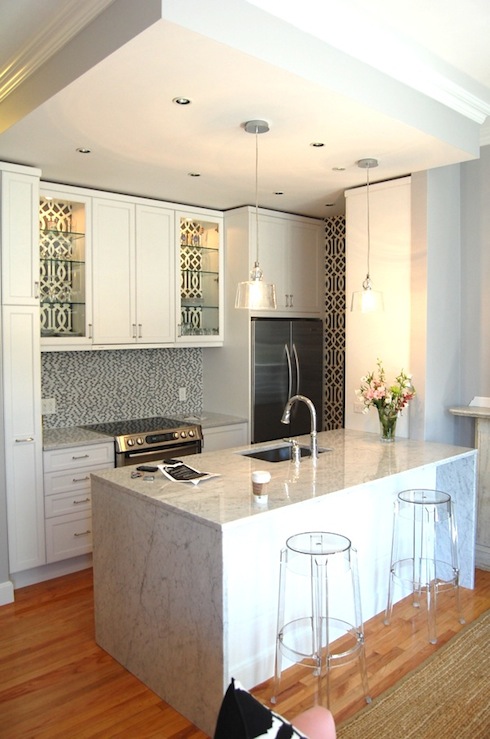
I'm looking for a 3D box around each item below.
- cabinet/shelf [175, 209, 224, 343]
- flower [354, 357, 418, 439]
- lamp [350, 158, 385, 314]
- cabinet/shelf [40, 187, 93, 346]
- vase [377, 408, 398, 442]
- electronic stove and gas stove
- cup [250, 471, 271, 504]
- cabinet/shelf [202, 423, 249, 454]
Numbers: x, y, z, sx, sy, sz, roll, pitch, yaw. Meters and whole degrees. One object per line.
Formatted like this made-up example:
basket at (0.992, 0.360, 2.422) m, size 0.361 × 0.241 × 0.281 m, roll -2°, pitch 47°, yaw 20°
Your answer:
cabinet/shelf at (-0.366, -0.835, 4.519) m, size 0.441 × 0.927 × 0.228 m, roll 13°, pitch 27°, yaw 12°
flower at (0.952, 0.205, 3.545) m, size 0.334 × 0.498 × 0.445 m, roll -1°, pitch 1°, yaw 18°
lamp at (0.736, -0.773, 3.203) m, size 0.190 × 0.881 × 0.198 m, roll -1°, pitch 11°, yaw 7°
cabinet/shelf at (-1.344, -0.686, 3.785) m, size 0.367 × 1.024 × 0.136 m, roll 0°, pitch 21°, yaw -16°
vase at (0.926, 0.357, 3.468) m, size 0.103 × 0.206 × 0.132 m, roll -1°, pitch 1°, yaw 13°
electronic stove and gas stove at (-0.689, 0.537, 3.964) m, size 0.720 × 0.231 × 0.823 m, roll 0°, pitch 1°, yaw 44°
cup at (0.059, 0.449, 2.062) m, size 0.074 × 0.117 × 0.102 m, roll 7°, pitch 10°, yaw 38°
cabinet/shelf at (-0.149, 0.541, 4.325) m, size 0.453 × 0.195 × 0.075 m, roll -2°, pitch 2°, yaw -45°
